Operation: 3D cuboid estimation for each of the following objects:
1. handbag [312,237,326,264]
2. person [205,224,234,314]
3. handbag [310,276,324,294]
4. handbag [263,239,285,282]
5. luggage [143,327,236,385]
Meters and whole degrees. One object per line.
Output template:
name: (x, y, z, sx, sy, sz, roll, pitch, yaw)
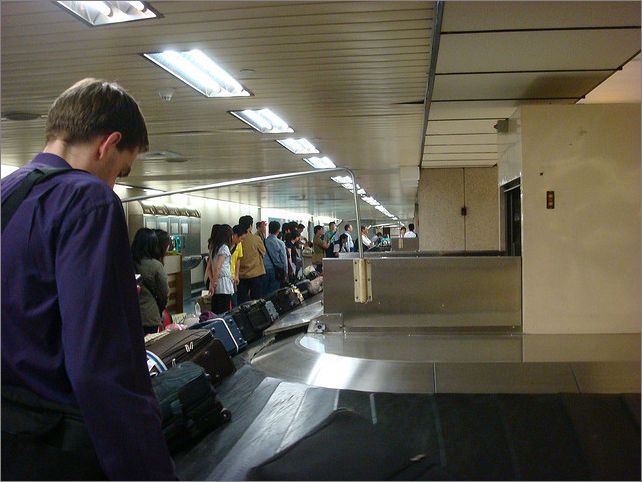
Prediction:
handbag: (-0.057, 0.242, 10.955, 0.356, 0.691, 0.514, -5, 10, -2)
person: (-1.491, 0.416, 6.598, 0.450, 1.322, 0.455, 1, 12, 30)
handbag: (-0.074, 0.869, 8.392, 0.148, 0.313, 0.654, -2, 11, 12)
handbag: (-0.735, 0.374, 8.334, 0.228, 0.678, 0.422, -26, 8, -20)
luggage: (-1.055, 0.893, 3.652, 0.580, 0.259, 0.763, -42, -8, 6)
